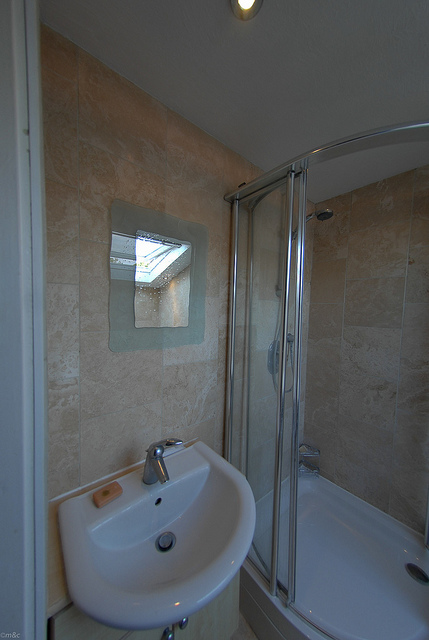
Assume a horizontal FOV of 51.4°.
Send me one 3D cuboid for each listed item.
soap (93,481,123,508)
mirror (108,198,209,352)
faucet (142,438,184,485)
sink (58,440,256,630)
[{"bbox_3d":[-0.312,0.503,1.284,0.038,0.017,0.063,28,34,36],"label":"soap"},{"bbox_3d":[-0.192,-0.152,1.444,0.017,0.609,0.470,4,3,43],"label":"mirror"},{"bbox_3d":[-0.173,0.427,1.336,0.110,0.158,0.053,19,12,22],"label":"faucet"},{"bbox_3d":[-0.129,0.617,1.269,0.532,0.216,0.477,-19,35,-32],"label":"sink"}]
